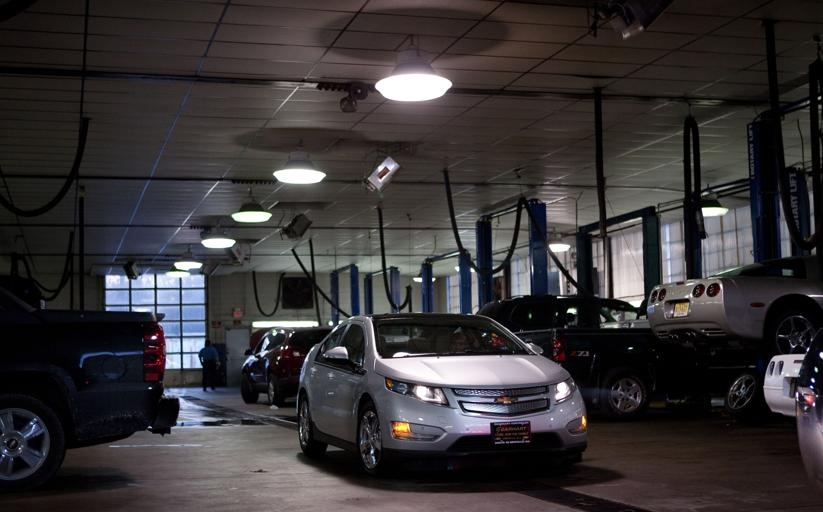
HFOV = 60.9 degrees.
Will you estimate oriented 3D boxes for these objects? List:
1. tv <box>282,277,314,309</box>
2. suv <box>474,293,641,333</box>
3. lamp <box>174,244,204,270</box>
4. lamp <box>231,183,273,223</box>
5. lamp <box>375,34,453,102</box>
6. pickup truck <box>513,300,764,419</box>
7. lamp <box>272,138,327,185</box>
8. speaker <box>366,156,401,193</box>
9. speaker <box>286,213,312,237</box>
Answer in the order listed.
[{"bbox_3d":[-6.444,2.097,39.119,1.954,1.712,0.443,2,-5,-14],"label":"tv"},{"bbox_3d":[3.122,1.199,14.857,2.541,0.916,1.329,-2,-1,-18],"label":"suv"},{"bbox_3d":[-8.973,-0.034,28.735,1.280,1.100,1.232,3,-9,-20],"label":"lamp"},{"bbox_3d":[-4.411,-1.514,19.660,1.217,1.084,1.210,-9,-9,38],"label":"lamp"},{"bbox_3d":[-0.006,-2.978,10.814,1.253,0.745,1.191,-1,7,-7],"label":"lamp"},{"bbox_3d":[5.345,2.104,14.262,5.561,2.078,2.555,-2,-11,-1],"label":"pickup truck"},{"bbox_3d":[-2.390,-1.965,15.802,1.145,0.926,1.148,-4,-7,42],"label":"lamp"},{"bbox_3d":[-0.735,-2.038,16.878,0.962,0.291,0.686,-38,-49,25],"label":"speaker"},{"bbox_3d":[-3.774,-1.017,23.086,0.769,0.836,1.047,-1,-7,-12],"label":"speaker"}]
